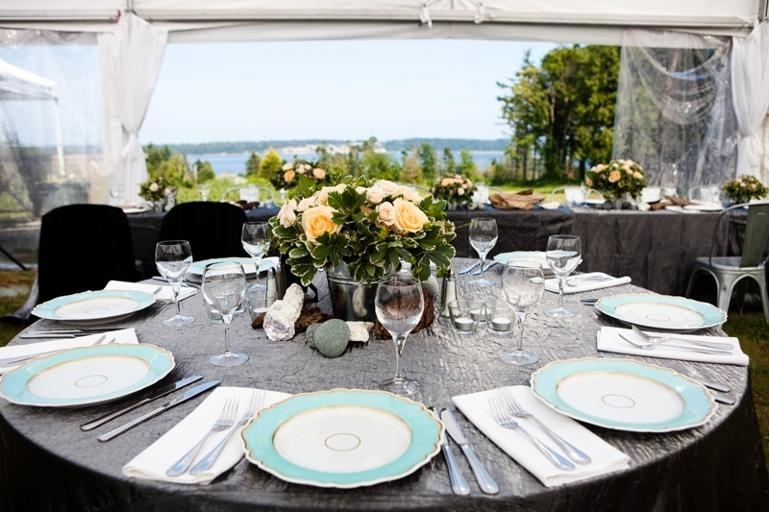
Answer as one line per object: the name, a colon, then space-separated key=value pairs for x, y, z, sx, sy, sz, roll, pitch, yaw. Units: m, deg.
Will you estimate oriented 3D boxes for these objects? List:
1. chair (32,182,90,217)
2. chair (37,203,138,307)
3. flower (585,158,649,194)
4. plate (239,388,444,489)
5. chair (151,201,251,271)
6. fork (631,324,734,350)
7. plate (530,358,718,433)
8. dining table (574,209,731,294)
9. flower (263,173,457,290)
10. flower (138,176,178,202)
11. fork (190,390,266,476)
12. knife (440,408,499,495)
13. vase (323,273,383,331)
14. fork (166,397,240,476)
chair: x=-3.708 y=-0.597 z=6.374 sx=0.565 sy=0.438 sz=0.352 roll=-6 pitch=-17 yaw=-14
chair: x=-1.624 y=-0.050 z=3.282 sx=0.474 sy=0.668 sz=0.538 roll=-2 pitch=17 yaw=-17
flower: x=1.961 y=-0.638 z=4.689 sx=0.376 sy=0.318 sz=0.397 roll=-2 pitch=2 yaw=-8
plate: x=-0.106 y=0.435 z=1.323 sx=0.464 sy=0.057 sz=0.496 roll=2 pitch=9 yaw=9
chair: x=-1.031 y=-0.120 z=3.055 sx=0.417 sy=0.169 sz=0.331 roll=-2 pitch=14 yaw=-13
fork: x=0.937 y=0.255 z=1.729 sx=0.236 sy=0.046 sz=0.036 roll=4 pitch=19 yaw=30
plate: x=0.641 y=0.372 z=1.462 sx=0.235 sy=0.029 sz=0.244 roll=-2 pitch=21 yaw=-7
dining table: x=2.259 y=0.077 z=4.715 sx=0.640 sy=0.786 sz=1.124 roll=13 pitch=-11 yaw=-42
flower: x=-0.040 y=0.019 z=1.919 sx=0.584 sy=0.380 sz=0.606 roll=-18 pitch=-17 yaw=36
flower: x=-1.877 y=-0.547 z=4.547 sx=0.210 sy=0.193 sz=0.212 roll=-10 pitch=11 yaw=24
fork: x=-0.366 y=0.427 z=1.458 sx=0.052 sy=0.062 sz=0.384 roll=2 pitch=29 yaw=23
knife: x=0.193 y=0.446 z=1.379 sx=0.046 sy=0.018 sz=0.338 roll=-8 pitch=27 yaw=-18
vase: x=-0.095 y=0.134 z=1.894 sx=0.207 sy=0.185 sz=0.239 roll=0 pitch=-8 yaw=3
fork: x=-0.431 y=0.448 z=1.416 sx=0.051 sy=0.061 sz=0.324 roll=2 pitch=26 yaw=19
